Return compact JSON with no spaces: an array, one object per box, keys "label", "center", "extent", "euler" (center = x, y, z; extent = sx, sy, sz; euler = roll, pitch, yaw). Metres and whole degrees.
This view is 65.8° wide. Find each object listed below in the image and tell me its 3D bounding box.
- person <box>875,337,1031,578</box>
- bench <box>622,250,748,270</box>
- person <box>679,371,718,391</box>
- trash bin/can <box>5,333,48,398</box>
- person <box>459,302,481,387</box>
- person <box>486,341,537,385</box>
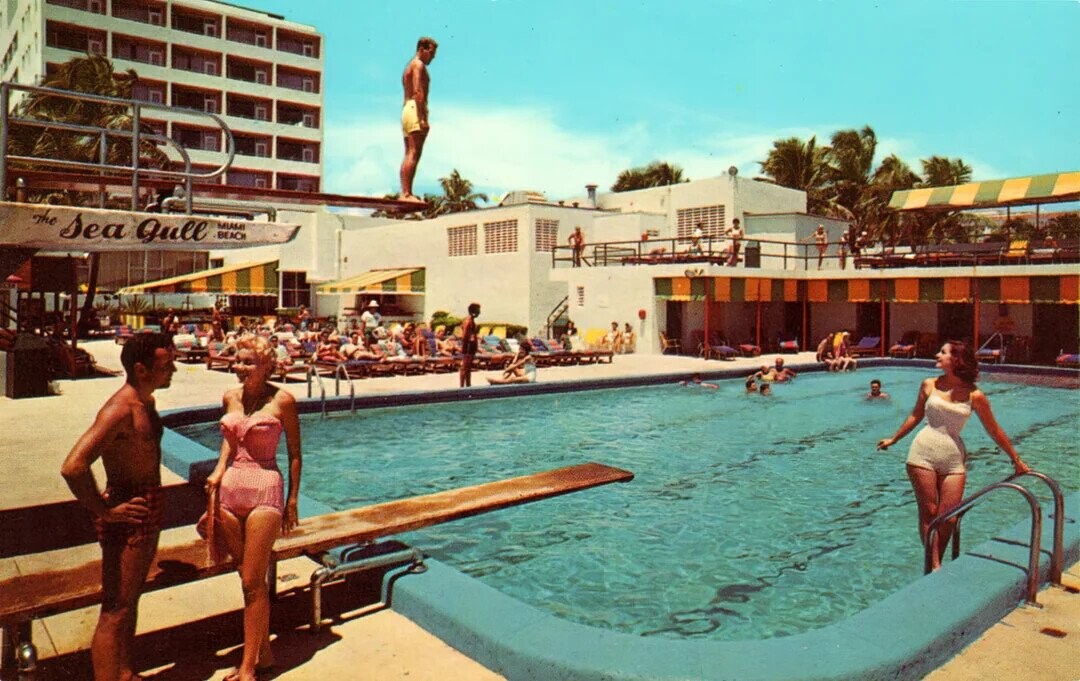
[{"label":"person","center":[4.713,1.331,9.590],"extent":[1.078,2.619,0.931],"euler":[-1,2,9]},{"label":"bench","center":[5.250,-3.040,31.417],"extent":[3.926,0.713,2.199],"euler":[0,1,42]},{"label":"person","center":[4.331,1.102,22.729],"extent":[0.973,0.403,1.167],"euler":[-1,1,6]},{"label":"trash bin/can","center":[-9.975,0.493,16.250],"extent":[0.747,1.218,0.492],"euler":[-3,2,-32]},{"label":"person","center":[-1.610,0.158,19.830],"extent":[0.564,2.119,0.620],"euler":[-1,11,-5]},{"label":"person","center":[-0.641,0.514,20.699],"extent":[1.020,1.028,1.954],"euler":[-1,1,2]}]
